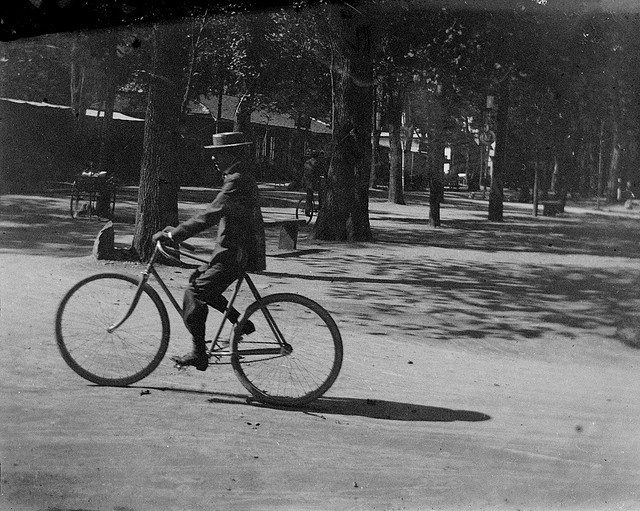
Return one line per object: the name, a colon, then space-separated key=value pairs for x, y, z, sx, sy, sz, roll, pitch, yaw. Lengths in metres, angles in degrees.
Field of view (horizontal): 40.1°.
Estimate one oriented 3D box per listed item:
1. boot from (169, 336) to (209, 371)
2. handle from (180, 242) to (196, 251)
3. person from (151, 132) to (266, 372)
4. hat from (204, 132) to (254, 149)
boot: x=-1.071 y=0.807 z=7.339 sx=0.343 sy=0.316 sz=0.173 roll=12 pitch=-5 yaw=4
handle: x=-1.090 y=-0.075 z=7.172 sx=0.079 sy=0.020 sz=0.079 roll=30 pitch=-3 yaw=36
person: x=-0.891 y=-0.021 z=7.304 sx=0.750 sy=2.045 sz=0.444 roll=3 pitch=3 yaw=-10
hat: x=-0.775 y=-0.971 z=7.397 sx=0.358 sy=0.168 sz=0.372 roll=4 pitch=3 yaw=-5
